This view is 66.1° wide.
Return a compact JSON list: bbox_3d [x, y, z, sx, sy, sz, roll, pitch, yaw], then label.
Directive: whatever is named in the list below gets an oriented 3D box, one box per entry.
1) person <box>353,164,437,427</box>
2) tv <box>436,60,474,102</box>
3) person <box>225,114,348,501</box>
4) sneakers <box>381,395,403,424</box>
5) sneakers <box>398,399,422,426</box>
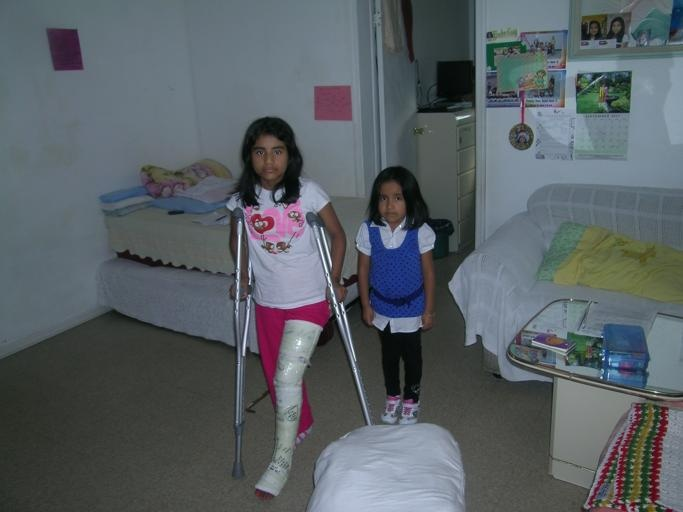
[{"bbox_3d":[0.284,0.236,2.740,0.401,1.336,0.325,-1,20,8],"label":"person"},{"bbox_3d":[1.213,-1.861,5.606,0.458,0.352,0.131,-12,21,-27],"label":"tv"},{"bbox_3d":[-0.221,0.240,2.516,0.542,1.712,0.593,-6,20,-8],"label":"person"},{"bbox_3d":[0.279,0.840,2.866,0.064,0.081,0.183,0,15,14],"label":"sneakers"},{"bbox_3d":[0.369,0.835,2.873,0.100,0.148,0.230,1,8,18],"label":"sneakers"}]
